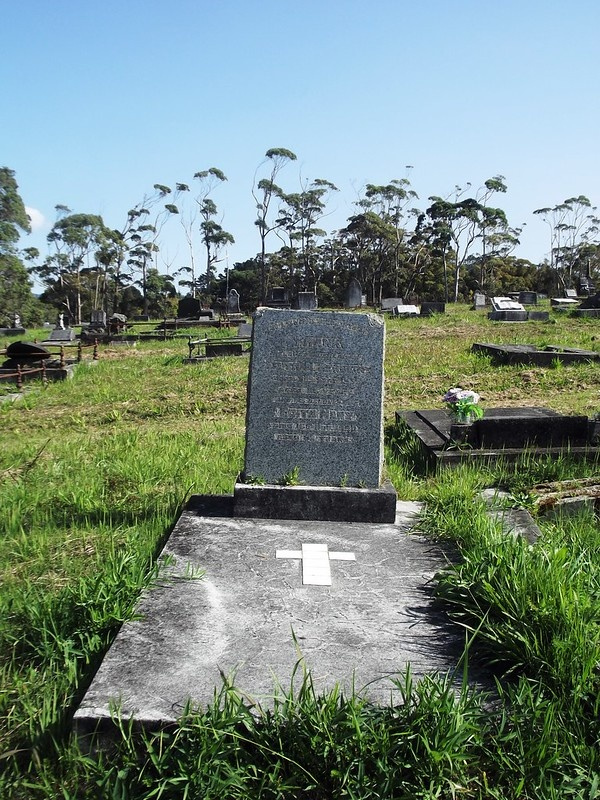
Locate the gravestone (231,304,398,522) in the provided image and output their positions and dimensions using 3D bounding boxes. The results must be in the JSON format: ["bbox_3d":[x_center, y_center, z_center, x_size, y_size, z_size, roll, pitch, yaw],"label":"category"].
[{"bbox_3d":[0.092,0.082,4.003,1.070,1.407,0.464,1,6,0],"label":"gravestone"}]

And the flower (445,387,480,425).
[{"bbox_3d":[1.633,0.066,6.074,0.396,0.421,0.416,2,-10,-7],"label":"flower"}]
